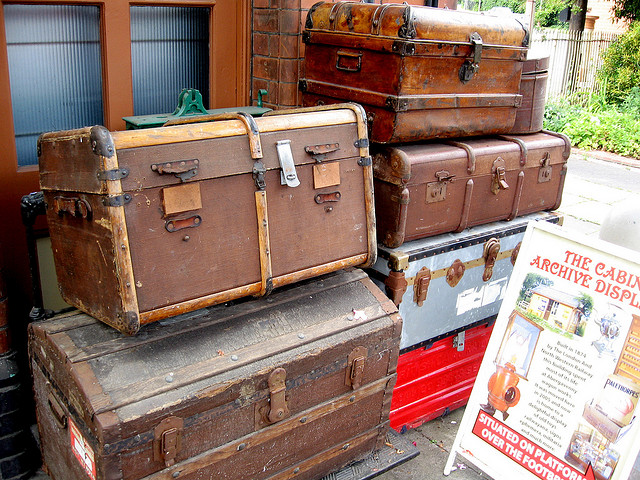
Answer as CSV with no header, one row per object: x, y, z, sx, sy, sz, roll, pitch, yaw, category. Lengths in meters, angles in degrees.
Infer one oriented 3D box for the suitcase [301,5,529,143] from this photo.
0.727,-1.194,3.569,1.614,0.922,0.811,-7,23,-11,suitcase

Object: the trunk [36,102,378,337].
-0.578,-0.236,3.032,1.717,1.055,0.896,-15,17,-40,trunk

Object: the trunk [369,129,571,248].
1.201,-0.488,3.951,1.649,0.678,0.625,-10,25,-22,trunk

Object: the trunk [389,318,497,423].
0.873,0.949,3.633,0.749,0.533,0.432,-12,33,-39,trunk

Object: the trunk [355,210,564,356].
1.050,0.139,4.308,1.951,0.918,1.248,-13,28,-32,trunk
